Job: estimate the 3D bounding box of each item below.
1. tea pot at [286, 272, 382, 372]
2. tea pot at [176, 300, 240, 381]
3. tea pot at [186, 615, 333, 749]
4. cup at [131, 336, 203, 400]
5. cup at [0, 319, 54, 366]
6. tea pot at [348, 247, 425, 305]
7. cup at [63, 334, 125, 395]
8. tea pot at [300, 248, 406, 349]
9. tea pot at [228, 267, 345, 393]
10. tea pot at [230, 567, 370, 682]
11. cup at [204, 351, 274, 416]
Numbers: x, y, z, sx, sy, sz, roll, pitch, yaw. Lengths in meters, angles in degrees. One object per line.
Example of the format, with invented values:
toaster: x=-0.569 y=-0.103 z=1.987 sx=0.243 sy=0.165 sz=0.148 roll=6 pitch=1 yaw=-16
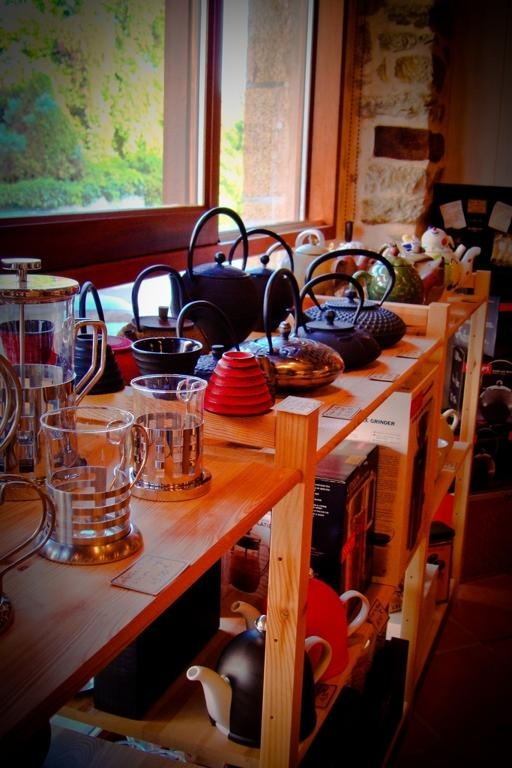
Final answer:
tea pot: x=0.146 y=-0.128 z=1.124 sx=0.183 sy=0.185 sz=0.190 roll=2 pitch=14 yaw=0
tea pot: x=-0.077 y=-0.071 z=0.876 sx=0.109 sy=0.158 sz=0.063 roll=-17 pitch=35 yaw=-30
tea pot: x=0.014 y=0.415 z=0.876 sx=0.215 sy=0.162 sz=0.151 roll=2 pitch=2 yaw=-31
cup: x=-0.119 y=-0.032 z=0.769 sx=0.082 sy=0.062 sz=0.084 roll=3 pitch=14 yaw=-1
cup: x=-0.247 y=-0.045 z=0.603 sx=0.042 sy=0.036 sz=0.048 roll=1 pitch=10 yaw=-1
tea pot: x=0.363 y=-0.301 z=1.514 sx=0.183 sy=0.173 sz=0.121 roll=3 pitch=12 yaw=25
cup: x=-0.235 y=-0.040 z=0.842 sx=0.084 sy=0.079 sz=0.083 roll=3 pitch=15 yaw=-1
tea pot: x=0.237 y=-0.178 z=1.311 sx=0.245 sy=0.257 sz=0.257 roll=2 pitch=11 yaw=0
tea pot: x=0.090 y=-0.083 z=0.928 sx=0.202 sy=0.208 sz=0.198 roll=-4 pitch=17 yaw=1
tea pot: x=0.073 y=0.376 z=0.994 sx=0.261 sy=0.228 sz=0.185 roll=3 pitch=-1 yaw=-7
cup: x=-0.025 y=-0.009 z=0.797 sx=0.086 sy=0.072 sz=0.084 roll=1 pitch=12 yaw=0
